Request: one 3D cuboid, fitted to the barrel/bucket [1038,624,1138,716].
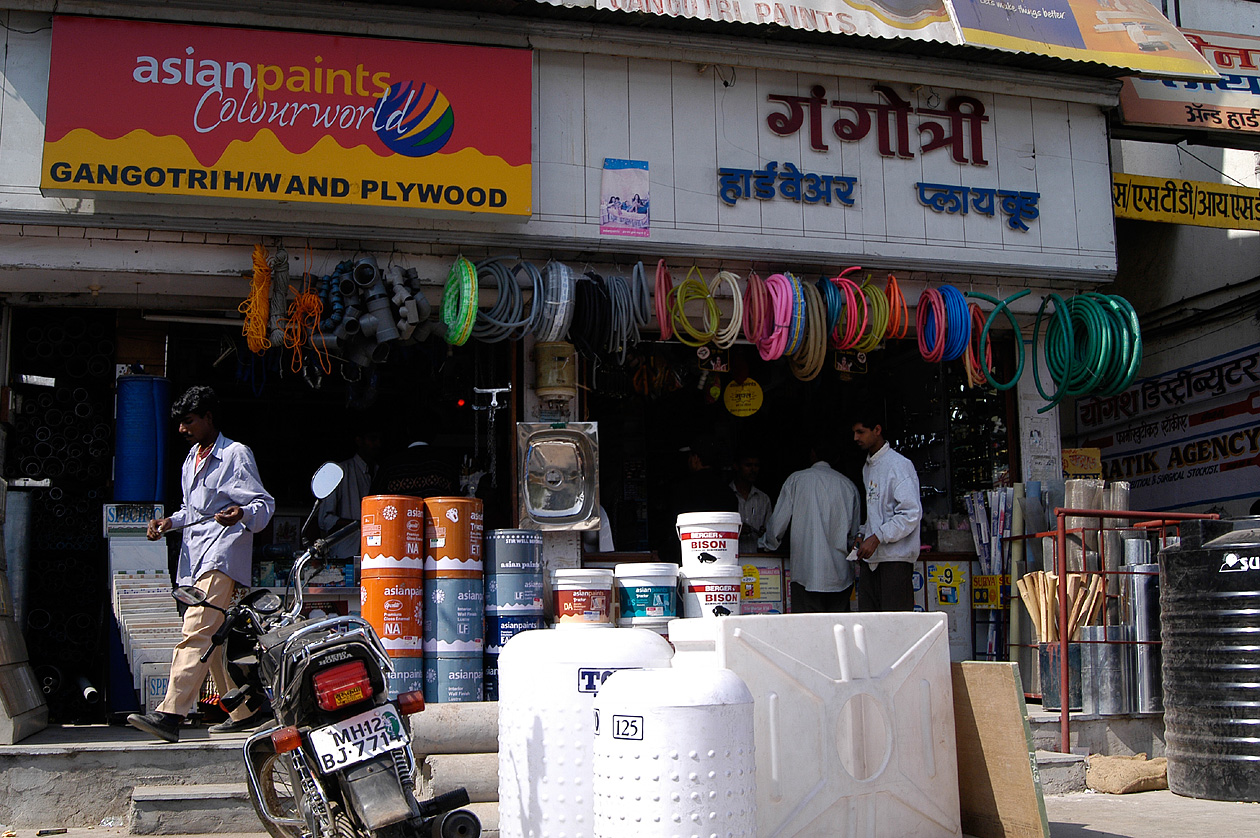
[{"bbox_3d":[3.758,2.066,12.230,0.671,0.699,0.599,-1,-6,3],"label":"barrel/bucket"}]

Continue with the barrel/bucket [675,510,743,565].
[{"bbox_3d":[0.594,0.937,11.337,0.381,0.334,0.412,0,-7,0],"label":"barrel/bucket"}]

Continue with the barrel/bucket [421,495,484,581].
[{"bbox_3d":[-1.375,0.915,11.558,0.492,0.624,0.534,0,-7,0],"label":"barrel/bucket"}]

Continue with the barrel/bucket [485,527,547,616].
[{"bbox_3d":[-0.948,1.229,11.829,0.553,0.984,0.558,-1,-6,0],"label":"barrel/bucket"}]

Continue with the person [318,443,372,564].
[{"bbox_3d":[-2.712,0.816,14.077,0.240,1.038,0.709,1,-7,21],"label":"person"}]

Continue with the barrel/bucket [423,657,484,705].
[{"bbox_3d":[-1.338,2.029,11.439,0.352,0.289,0.351,0,-10,0],"label":"barrel/bucket"}]

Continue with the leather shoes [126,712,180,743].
[{"bbox_3d":[-3.450,2.250,10.753,0.304,0.136,0.107,34,-52,-15],"label":"leather shoes"}]
